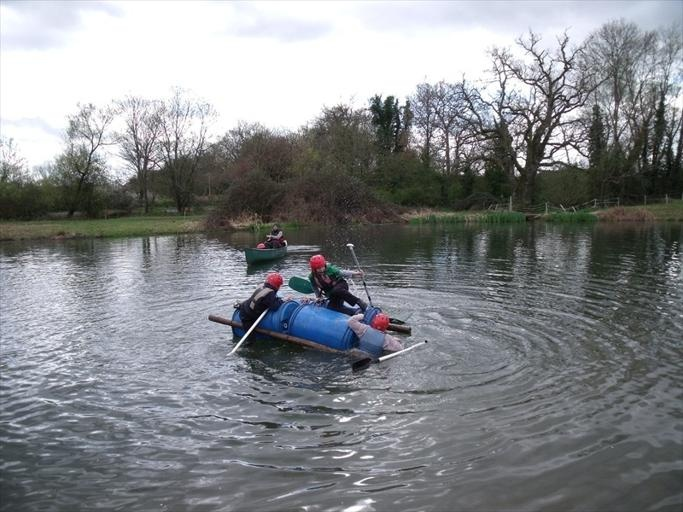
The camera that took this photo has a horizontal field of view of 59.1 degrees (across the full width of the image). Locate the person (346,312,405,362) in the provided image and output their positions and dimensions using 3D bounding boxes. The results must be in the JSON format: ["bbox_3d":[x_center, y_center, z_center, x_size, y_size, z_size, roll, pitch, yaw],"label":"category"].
[{"bbox_3d":[0.593,1.692,13.167,1.588,0.566,1.149,19,10,-31],"label":"person"}]

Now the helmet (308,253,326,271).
[{"bbox_3d":[-0.511,0.218,14.355,0.335,0.359,0.409,-12,-30,-26],"label":"helmet"}]

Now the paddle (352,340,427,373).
[{"bbox_3d":[0.979,2.120,12.538,1.917,0.229,0.269,-10,17,-35],"label":"paddle"}]

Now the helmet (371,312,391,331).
[{"bbox_3d":[0.860,1.439,12.782,0.308,0.341,0.385,17,13,-10],"label":"helmet"}]

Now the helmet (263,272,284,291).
[{"bbox_3d":[-1.626,0.624,14.183,0.410,0.445,0.499,3,11,9],"label":"helmet"}]
